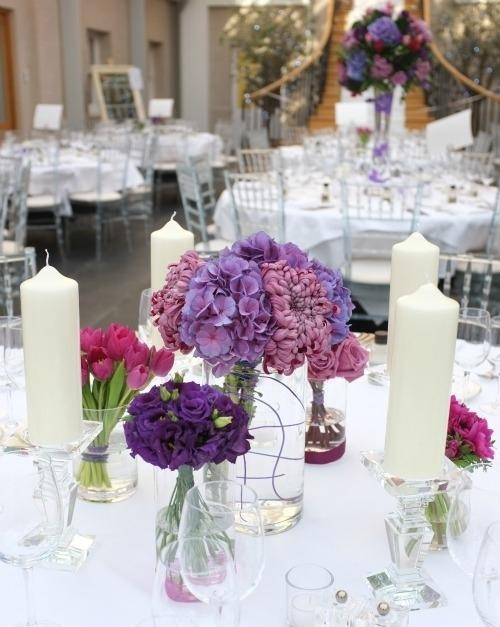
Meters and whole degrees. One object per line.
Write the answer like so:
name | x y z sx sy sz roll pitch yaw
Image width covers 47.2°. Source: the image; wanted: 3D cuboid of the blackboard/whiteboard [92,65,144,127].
blackboard/whiteboard | -1.174 -1.953 5.122 0.424 0.538 0.058 -4 6 -5

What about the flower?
flower | 0.560 -1.150 2.638 0.423 0.418 0.424 -2 6 -2
